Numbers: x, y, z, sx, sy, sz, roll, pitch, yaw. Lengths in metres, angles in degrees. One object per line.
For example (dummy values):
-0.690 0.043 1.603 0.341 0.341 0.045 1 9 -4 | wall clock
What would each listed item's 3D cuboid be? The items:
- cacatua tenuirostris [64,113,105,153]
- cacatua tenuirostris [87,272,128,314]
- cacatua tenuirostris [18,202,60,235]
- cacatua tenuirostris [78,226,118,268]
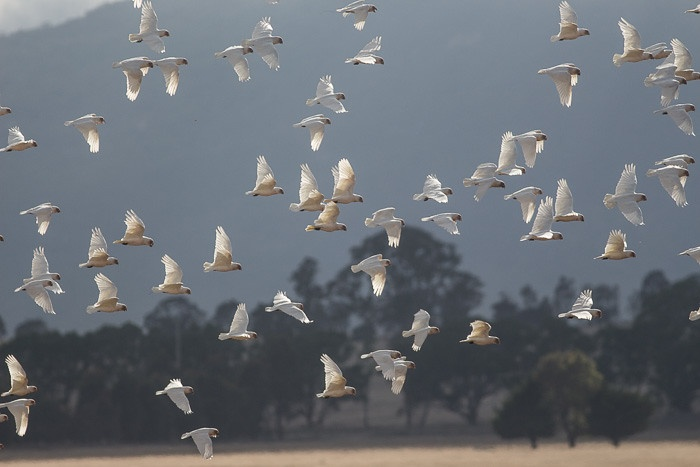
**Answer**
-10.637 -4.110 67.648 1.190 1.603 1.336 -5 -6 -2 | cacatua tenuirostris
-9.832 2.572 66.944 1.604 1.198 2.234 3 2 -2 | cacatua tenuirostris
-12.869 -0.912 68.909 1.648 2.022 0.638 4 14 8 | cacatua tenuirostris
-10.183 0.678 67.069 1.572 1.168 2.241 4 10 -6 | cacatua tenuirostris
